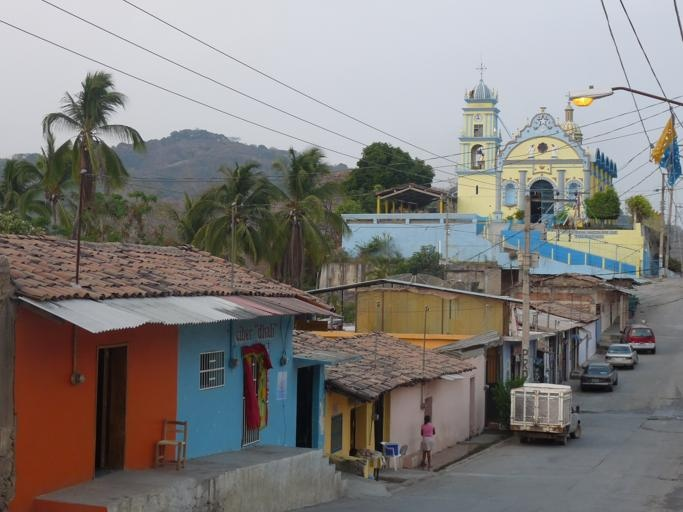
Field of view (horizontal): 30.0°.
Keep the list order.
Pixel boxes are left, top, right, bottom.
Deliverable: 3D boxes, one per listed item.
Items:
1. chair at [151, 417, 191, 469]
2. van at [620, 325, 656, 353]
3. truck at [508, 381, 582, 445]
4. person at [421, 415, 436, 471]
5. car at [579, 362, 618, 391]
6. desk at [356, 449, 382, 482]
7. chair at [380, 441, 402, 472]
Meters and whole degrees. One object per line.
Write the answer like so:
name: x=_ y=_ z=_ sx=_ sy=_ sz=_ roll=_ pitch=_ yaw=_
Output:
chair: x=-5.237 y=5.768 z=39.052 sx=0.889 sy=1.379 sz=0.903 roll=2 pitch=0 yaw=16
van: x=17.420 y=4.842 z=75.630 sx=1.339 sy=1.145 sz=2.613 roll=0 pitch=7 yaw=1
truck: x=8.337 y=6.301 z=52.383 sx=1.807 sy=1.770 sz=3.130 roll=0 pitch=1 yaw=16
person: x=3.218 y=7.144 z=49.322 sx=0.506 sy=1.593 sz=1.499 roll=-3 pitch=-2 yaw=3
car: x=12.993 y=6.163 z=65.029 sx=1.131 sy=0.901 sz=2.682 roll=1 pitch=5 yaw=12
desk: x=0.918 y=7.586 z=46.588 sx=0.880 sy=0.918 sz=0.906 roll=1 pitch=-7 yaw=1
chair: x=1.804 y=7.527 z=48.413 sx=0.902 sy=1.176 sz=0.777 roll=-4 pitch=-5 yaw=32
